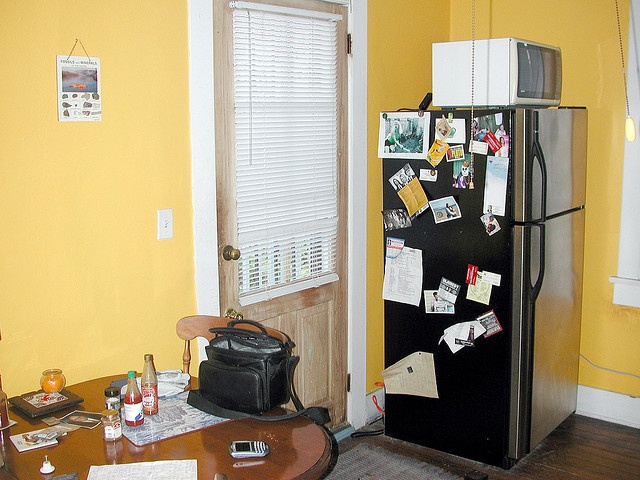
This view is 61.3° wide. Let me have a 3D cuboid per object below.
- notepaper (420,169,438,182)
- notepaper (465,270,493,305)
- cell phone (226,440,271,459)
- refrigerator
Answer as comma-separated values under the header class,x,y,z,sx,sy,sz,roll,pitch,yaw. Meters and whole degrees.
class,x,y,z,sx,sy,sz,roll,pitch,yaw
notepaper,0.621,-0.367,3.059,0.069,0.051,0.010,11,19,36
notepaper,0.886,0.258,2.978,0.153,0.220,0.023,13,17,41
cell phone,-0.227,0.662,1.719,0.089,0.023,0.053,1,17,-9
refrigerator,0.972,0.248,3.170,1.215,1.989,0.664,-1,11,8
